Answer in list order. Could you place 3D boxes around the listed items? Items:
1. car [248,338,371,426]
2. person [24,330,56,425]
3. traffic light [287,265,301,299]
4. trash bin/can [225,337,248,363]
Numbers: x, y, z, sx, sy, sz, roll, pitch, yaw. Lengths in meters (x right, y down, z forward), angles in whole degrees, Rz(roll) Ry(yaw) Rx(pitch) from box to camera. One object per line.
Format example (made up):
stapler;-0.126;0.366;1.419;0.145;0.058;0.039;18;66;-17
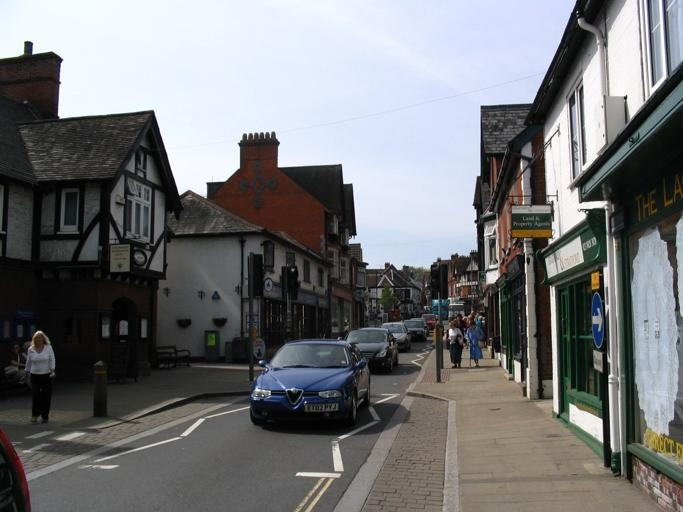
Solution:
car;-0.603;2.603;13.861;1.947;1.848;2.774;-5;-10;17
person;-6.338;2.540;13.885;0.520;1.890;0.648;2;-9;-29
traffic light;-1.564;0.801;21.198;0.357;1.062;0.738;-1;-9;-8
trash bin/can;-4.579;4.215;29.391;1.246;1.521;0.873;-1;-6;6
